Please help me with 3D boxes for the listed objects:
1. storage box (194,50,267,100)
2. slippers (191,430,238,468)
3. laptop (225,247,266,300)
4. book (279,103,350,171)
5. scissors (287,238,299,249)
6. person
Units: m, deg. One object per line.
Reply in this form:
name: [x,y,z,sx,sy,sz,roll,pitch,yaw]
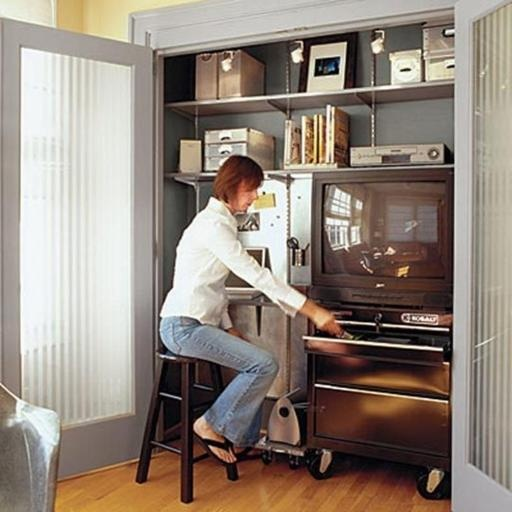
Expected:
storage box: [-0.176,-1.047,2.961,0.315,0.261,0.345,0,4,21]
slippers: [-0.183,0.895,2.337,0.256,0.068,0.102,36,1,14]
laptop: [-0.061,0.105,2.974,0.238,0.275,0.271,1,-1,14]
book: [0.374,-0.582,2.957,0.320,0.485,0.453,0,-1,28]
scissors: [0.216,-0.082,2.799,0.048,0.075,0.022,-3,17,31]
person: [-0.066,0.255,2.366,0.789,1.483,0.560,4,1,36]
